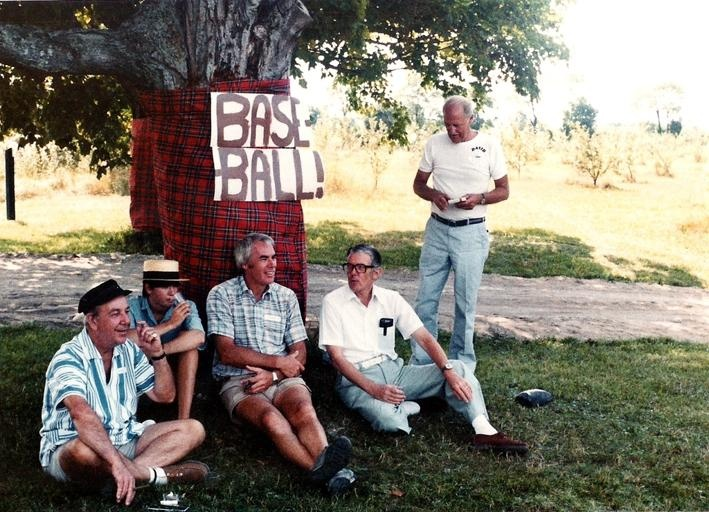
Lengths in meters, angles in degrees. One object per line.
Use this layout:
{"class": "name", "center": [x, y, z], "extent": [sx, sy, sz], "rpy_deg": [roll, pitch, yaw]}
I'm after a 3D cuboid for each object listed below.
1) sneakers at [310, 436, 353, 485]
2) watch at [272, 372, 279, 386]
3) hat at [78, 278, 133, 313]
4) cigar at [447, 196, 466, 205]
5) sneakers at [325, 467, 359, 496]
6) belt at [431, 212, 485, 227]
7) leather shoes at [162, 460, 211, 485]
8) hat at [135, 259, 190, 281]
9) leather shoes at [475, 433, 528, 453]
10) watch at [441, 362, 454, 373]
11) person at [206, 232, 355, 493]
{"class": "sneakers", "center": [-0.211, 1.934, 7.303], "extent": [0.250, 0.566, 0.235], "rpy_deg": [36, 11, -12]}
{"class": "watch", "center": [-0.843, 1.295, 8.066], "extent": [0.044, 0.114, 0.079], "rpy_deg": [-9, -3, 28]}
{"class": "hat", "center": [-2.341, 0.330, 7.149], "extent": [0.462, 0.172, 0.348], "rpy_deg": [-13, 10, 30]}
{"class": "cigar", "center": [1.212, -0.658, 9.109], "extent": [0.230, 0.100, 0.083], "rpy_deg": [10, 12, 43]}
{"class": "sneakers", "center": [-0.141, 2.149, 7.229], "extent": [0.239, 0.082, 0.163], "rpy_deg": [-42, 11, -23]}
{"class": "belt", "center": [1.239, -0.439, 9.310], "extent": [0.641, 0.169, 0.230], "rpy_deg": [3, 9, 5]}
{"class": "leather shoes", "center": [-1.601, 2.056, 7.288], "extent": [0.454, 0.168, 0.186], "rpy_deg": [-3, 7, -17]}
{"class": "hat", "center": [-2.054, 0.157, 7.991], "extent": [0.327, 0.120, 0.295], "rpy_deg": [5, 2, 20]}
{"class": "leather shoes", "center": [1.505, 1.944, 7.993], "extent": [0.561, 0.247, 0.215], "rpy_deg": [1, -5, 5]}
{"class": "watch", "center": [0.998, 1.209, 8.256], "extent": [0.023, 0.088, 0.088], "rpy_deg": [19, -5, -32]}
{"class": "person", "center": [-0.889, 0.877, 8.002], "extent": [0.950, 2.083, 1.482], "rpy_deg": [-4, 10, -31]}
